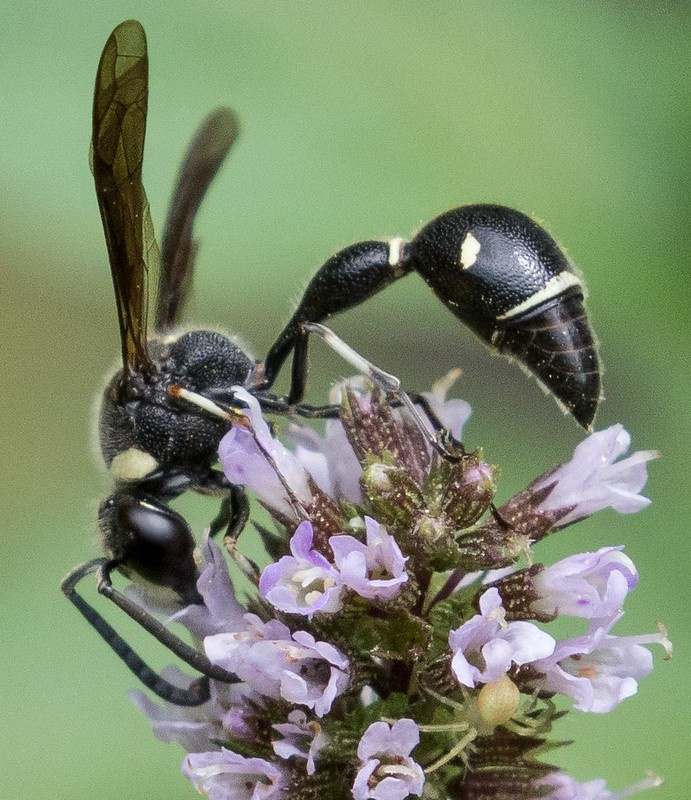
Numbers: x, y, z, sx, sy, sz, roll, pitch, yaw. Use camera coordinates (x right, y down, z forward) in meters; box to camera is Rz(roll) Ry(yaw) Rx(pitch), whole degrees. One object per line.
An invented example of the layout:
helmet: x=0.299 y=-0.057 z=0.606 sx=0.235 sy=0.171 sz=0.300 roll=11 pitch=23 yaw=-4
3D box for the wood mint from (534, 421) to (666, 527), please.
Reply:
wood mint: x=0.330 y=0.100 z=1.400 sx=0.166 sy=0.110 sz=0.074 roll=-17 pitch=-20 yaw=10

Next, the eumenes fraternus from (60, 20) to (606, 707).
eumenes fraternus: x=-0.116 y=-0.039 z=1.659 sx=0.654 sy=0.998 sz=0.885 roll=-3 pitch=8 yaw=12

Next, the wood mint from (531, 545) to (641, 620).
wood mint: x=0.284 y=0.213 z=1.234 sx=0.077 sy=0.083 sz=0.144 roll=-5 pitch=-20 yaw=-28
